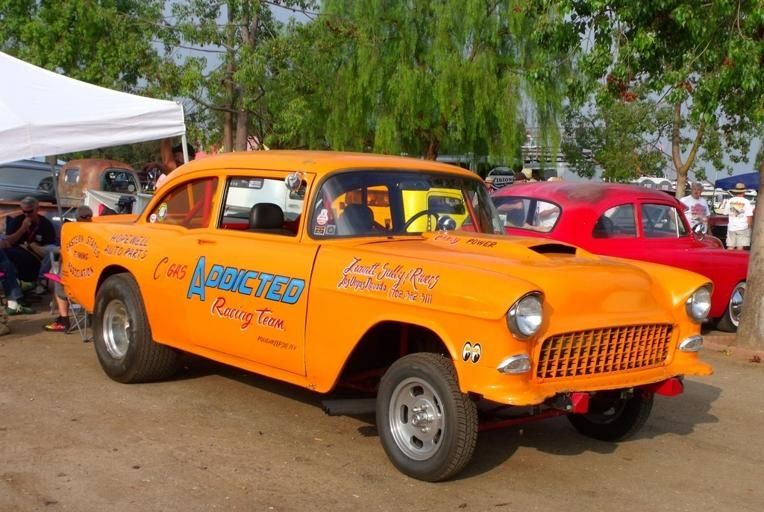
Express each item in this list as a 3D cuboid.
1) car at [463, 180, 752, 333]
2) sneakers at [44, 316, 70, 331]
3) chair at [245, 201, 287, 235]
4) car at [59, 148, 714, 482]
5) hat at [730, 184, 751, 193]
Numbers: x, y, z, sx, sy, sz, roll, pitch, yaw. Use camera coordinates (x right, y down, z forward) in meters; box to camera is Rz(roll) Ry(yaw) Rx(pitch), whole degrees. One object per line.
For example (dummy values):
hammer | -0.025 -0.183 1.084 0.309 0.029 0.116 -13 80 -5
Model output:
car | 3.863 -0.071 10.353 3.862 1.832 2.262 -2 8 -29
sneakers | -4.824 0.995 9.559 0.195 0.242 0.523 -1 3 -44
chair | -1.097 -0.328 6.166 0.447 0.409 0.235 3 -5 -30
car | -0.114 0.327 6.383 6.048 2.644 1.885 7 11 30
hat | 10.897 -2.050 19.702 0.573 0.220 0.631 7 9 39
